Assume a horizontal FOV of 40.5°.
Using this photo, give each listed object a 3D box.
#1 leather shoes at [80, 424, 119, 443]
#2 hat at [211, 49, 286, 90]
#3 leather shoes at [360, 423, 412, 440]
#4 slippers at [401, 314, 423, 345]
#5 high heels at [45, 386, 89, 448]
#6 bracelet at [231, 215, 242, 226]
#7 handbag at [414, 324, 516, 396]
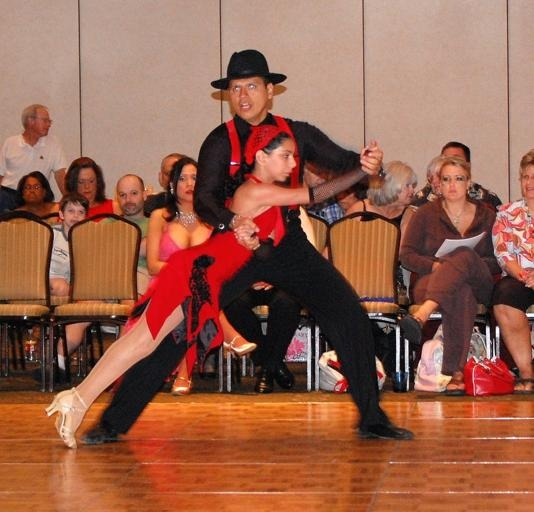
[{"bbox_3d":[-0.645,0.687,2.780,0.136,0.056,0.061,7,-8,-14],"label":"leather shoes"},{"bbox_3d":[-0.069,-0.799,3.170,0.269,0.093,0.262,-3,-8,8],"label":"hat"},{"bbox_3d":[0.446,0.663,2.758,0.230,0.081,0.074,-2,-3,2],"label":"leather shoes"},{"bbox_3d":[0.844,0.404,4.072,0.106,0.176,0.061,-21,4,43],"label":"slippers"},{"bbox_3d":[-0.728,0.585,2.691,0.133,0.276,0.106,-6,11,0],"label":"high heels"},{"bbox_3d":[-0.108,-0.126,2.605,0.033,0.035,0.041,2,-15,0],"label":"bracelet"},{"bbox_3d":[1.106,0.616,4.377,0.481,0.388,0.241,2,-8,-36],"label":"handbag"}]
